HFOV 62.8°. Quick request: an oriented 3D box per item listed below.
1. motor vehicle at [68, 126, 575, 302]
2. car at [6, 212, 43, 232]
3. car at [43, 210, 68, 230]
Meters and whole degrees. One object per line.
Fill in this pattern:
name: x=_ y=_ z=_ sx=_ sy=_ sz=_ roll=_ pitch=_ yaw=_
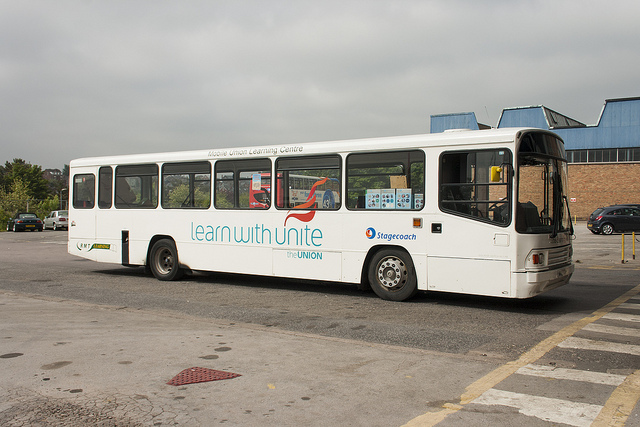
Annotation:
motor vehicle: x=-1.217 y=0.136 z=15.004 sx=15.158 sy=3.952 sz=2.380 roll=-1 pitch=0 yaw=27
car: x=-27.572 y=0.826 z=48.895 sx=3.152 sy=1.968 sz=1.937 roll=-1 pitch=0 yaw=30
car: x=-26.069 y=0.576 z=51.890 sx=1.762 sy=1.371 sz=3.806 roll=-4 pitch=8 yaw=-44
